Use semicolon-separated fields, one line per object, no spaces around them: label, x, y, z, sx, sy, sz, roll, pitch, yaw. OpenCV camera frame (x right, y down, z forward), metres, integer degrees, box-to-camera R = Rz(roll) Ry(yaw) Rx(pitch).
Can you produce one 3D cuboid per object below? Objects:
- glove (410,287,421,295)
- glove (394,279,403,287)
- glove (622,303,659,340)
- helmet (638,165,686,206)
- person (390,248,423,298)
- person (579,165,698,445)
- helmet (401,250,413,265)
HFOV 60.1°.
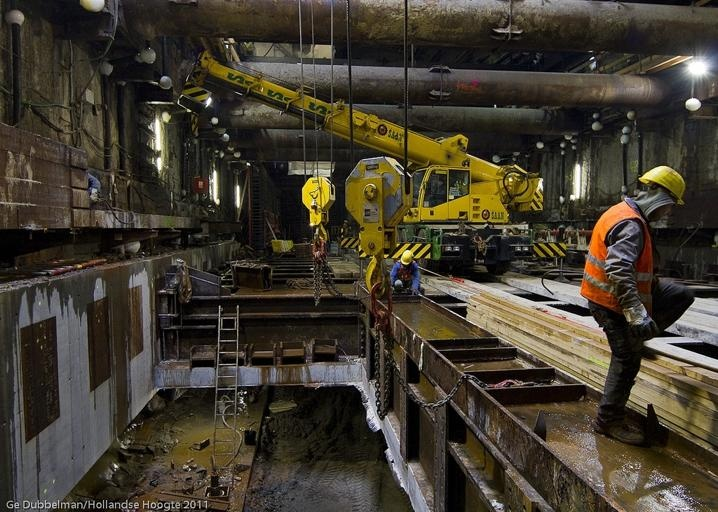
glove;1.114;0.706;11.890;0.186;0.105;0.262;2;-2;39
glove;0.752;0.528;11.776;0.103;0.153;0.147;-13;-17;-19
glove;3.338;0.790;7.344;0.320;0.456;0.166;-11;-16;-2
helmet;3.798;-0.881;7.744;0.461;0.470;0.600;2;5;32
person;0.891;0.299;11.906;0.510;1.026;0.982;-1;32;-11
person;3.287;0.601;7.606;1.021;3.346;0.626;0;4;10
helmet;0.932;0.019;11.816;0.175;0.145;0.270;4;33;21
